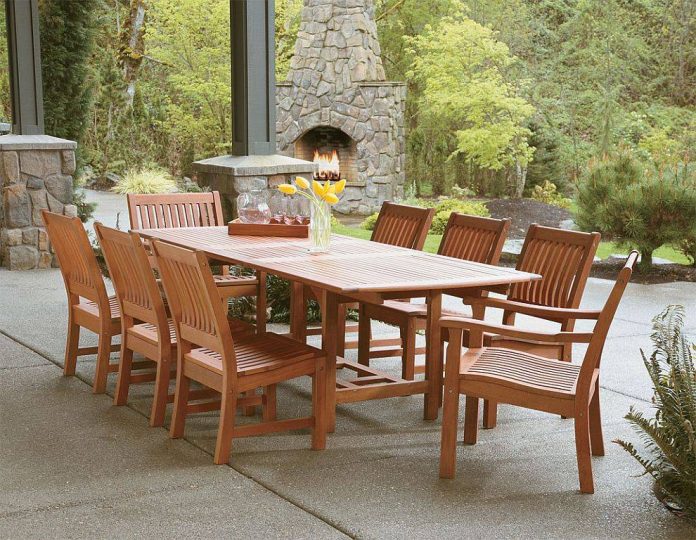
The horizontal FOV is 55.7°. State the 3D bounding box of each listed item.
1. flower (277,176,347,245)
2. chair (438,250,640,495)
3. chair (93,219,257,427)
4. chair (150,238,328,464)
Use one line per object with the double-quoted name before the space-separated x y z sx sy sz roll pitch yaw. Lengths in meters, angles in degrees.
"flower" -0.200 -0.321 3.850 0.425 0.412 0.355 9 17 32
"chair" 0.834 0.395 3.020 0.882 0.889 0.815 -6 7 -8
"chair" -0.965 0.288 3.747 0.920 1.063 0.767 0 8 -26
"chair" -0.537 0.376 3.226 0.750 0.943 0.619 -2 7 -42
